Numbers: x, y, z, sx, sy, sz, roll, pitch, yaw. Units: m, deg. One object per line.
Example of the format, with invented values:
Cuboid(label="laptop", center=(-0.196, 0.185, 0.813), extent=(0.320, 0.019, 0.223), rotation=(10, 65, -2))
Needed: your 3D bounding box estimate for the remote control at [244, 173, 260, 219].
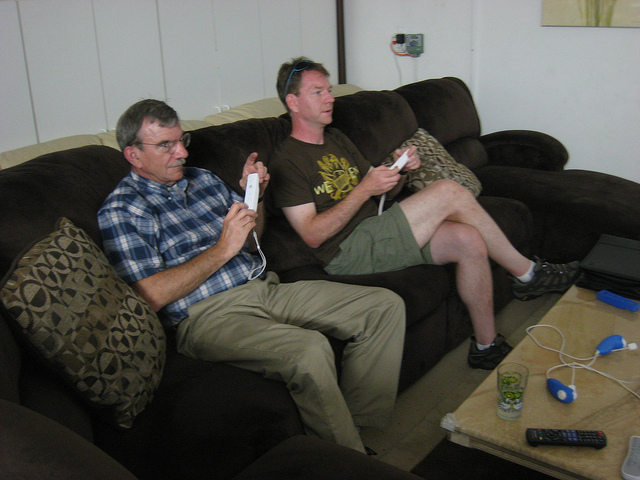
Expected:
Cuboid(label="remote control", center=(-0.277, -0.183, 2.104), extent=(0.072, 0.050, 0.262), rotation=(-12, 40, 5))

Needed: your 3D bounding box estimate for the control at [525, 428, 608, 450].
Cuboid(label="control", center=(0.694, 0.555, 1.460), extent=(0.250, 0.039, 0.068), rotation=(0, 32, 8))

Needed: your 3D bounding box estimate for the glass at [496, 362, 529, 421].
Cuboid(label="glass", center=(0.587, 0.454, 1.597), extent=(0.086, 0.157, 0.131), rotation=(5, 20, 19))

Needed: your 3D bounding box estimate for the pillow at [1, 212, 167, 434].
Cuboid(label="pillow", center=(-0.695, 0.261, 1.612), extent=(0.348, 0.588, 0.408), rotation=(-4, 19, -6))

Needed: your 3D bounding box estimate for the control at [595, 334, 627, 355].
Cuboid(label="control", center=(1.018, 0.377, 1.828), extent=(0.109, 0.036, 0.059), rotation=(-33, 65, -24))

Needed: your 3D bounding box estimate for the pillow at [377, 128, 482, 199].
Cuboid(label="pillow", center=(0.594, -0.351, 3.100), extent=(0.503, 0.162, 0.519), rotation=(44, 46, -3))

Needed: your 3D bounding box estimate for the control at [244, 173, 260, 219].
Cuboid(label="control", center=(-0.277, -0.181, 2.101), extent=(0.083, 0.052, 0.260), rotation=(-13, 42, 6))

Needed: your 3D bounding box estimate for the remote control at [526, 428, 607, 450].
Cuboid(label="remote control", center=(0.691, 0.556, 1.460), extent=(0.242, 0.036, 0.068), rotation=(0, 29, 7))

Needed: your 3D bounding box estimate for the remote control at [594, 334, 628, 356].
Cuboid(label="remote control", center=(1.001, 0.362, 1.786), extent=(0.119, 0.039, 0.058), rotation=(-34, 70, -18))

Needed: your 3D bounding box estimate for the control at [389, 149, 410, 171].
Cuboid(label="control", center=(0.381, -0.381, 2.454), extent=(0.041, 0.035, 0.160), rotation=(25, 46, 25))

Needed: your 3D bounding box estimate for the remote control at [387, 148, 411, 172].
Cuboid(label="remote control", center=(0.403, -0.384, 2.476), extent=(0.050, 0.045, 0.210), rotation=(16, 41, 37))

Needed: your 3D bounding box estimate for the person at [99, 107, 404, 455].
Cuboid(label="person", center=(-0.257, 0.179, 2.113), extent=(1.318, 1.263, 0.808), rotation=(7, 16, 18))
